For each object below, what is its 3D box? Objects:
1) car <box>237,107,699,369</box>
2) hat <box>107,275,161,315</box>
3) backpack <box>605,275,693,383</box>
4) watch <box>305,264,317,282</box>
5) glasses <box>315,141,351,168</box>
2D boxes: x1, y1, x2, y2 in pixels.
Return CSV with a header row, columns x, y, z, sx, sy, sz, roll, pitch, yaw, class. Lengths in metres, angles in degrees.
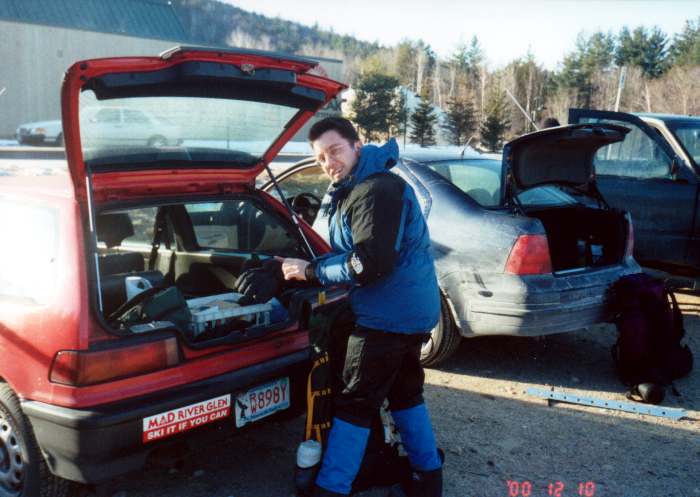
x,y,z,sx,sy,sz,roll,pitch,yaw,class
0.574,-0.395,5.928,1.922,1.394,4.121,-14,22,-38,car
-1.466,0.278,3.784,0.369,0.147,0.239,-18,-14,20,hat
2.432,0.653,4.697,0.555,0.821,0.455,-10,16,-31,backpack
-0.213,0.130,3.115,0.080,0.077,0.082,2,2,34,watch
-0.091,-0.498,3.059,0.174,0.115,0.126,-2,6,26,glasses
